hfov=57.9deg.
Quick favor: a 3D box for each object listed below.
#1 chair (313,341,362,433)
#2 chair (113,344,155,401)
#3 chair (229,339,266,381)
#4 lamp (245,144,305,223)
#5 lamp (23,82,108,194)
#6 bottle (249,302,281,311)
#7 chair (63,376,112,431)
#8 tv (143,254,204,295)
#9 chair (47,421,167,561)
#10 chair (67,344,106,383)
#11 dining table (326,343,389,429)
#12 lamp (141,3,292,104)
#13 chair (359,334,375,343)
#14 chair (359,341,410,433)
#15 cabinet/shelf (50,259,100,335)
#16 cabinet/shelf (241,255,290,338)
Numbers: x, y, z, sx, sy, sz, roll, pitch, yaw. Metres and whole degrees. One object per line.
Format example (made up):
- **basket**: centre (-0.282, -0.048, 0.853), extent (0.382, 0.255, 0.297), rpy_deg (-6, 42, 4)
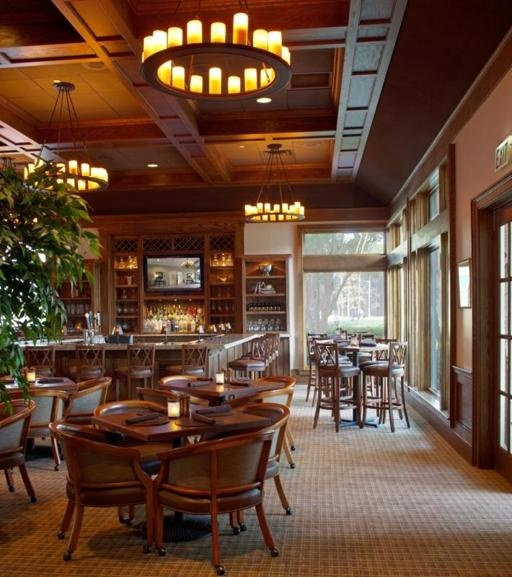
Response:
- **chair**: centre (1.058, 1.228, 5.952), extent (0.495, 1.054, 0.534), rpy_deg (-3, -4, 38)
- **chair**: centre (-1.621, 1.137, 6.165), extent (0.530, 0.737, 0.538), rpy_deg (-6, -9, 24)
- **chair**: centre (-0.130, 1.113, 6.808), extent (0.489, 0.749, 0.430), rpy_deg (3, 4, 25)
- **lamp**: centre (0.609, -1.830, 8.815), extent (1.407, 1.473, 1.354), rpy_deg (0, -5, -3)
- **lamp**: centre (-2.432, -2.004, 5.880), extent (1.060, 1.155, 1.059), rpy_deg (13, 16, 36)
- **bottle**: centre (0.185, 0.387, 9.639), extent (0.728, 0.198, 0.231), rpy_deg (-1, -7, 5)
- **chair**: centre (-1.663, 1.100, 4.444), extent (0.527, 0.522, 0.497), rpy_deg (3, -2, -24)
- **tv**: centre (-1.752, -0.316, 9.990), extent (1.442, 0.800, 0.110), rpy_deg (1, 4, 17)
- **chair**: centre (-0.864, 1.091, 2.582), extent (0.507, 0.624, 0.529), rpy_deg (2, -10, -23)
- **chair**: centre (-2.197, 0.973, 6.013), extent (0.531, 0.692, 0.523), rpy_deg (2, 0, -22)
- **dining table**: centre (1.194, 1.269, 6.290), extent (0.679, 1.067, 1.631), rpy_deg (-2, -7, 12)
- **lamp**: centre (-0.292, -1.501, 3.012), extent (1.023, 0.259, 1.017), rpy_deg (-33, 52, -28)
- **chair**: centre (1.808, 0.803, 7.430), extent (0.188, 0.174, 0.503), rpy_deg (-1, -9, 5)
- **chair**: centre (1.675, 1.219, 5.939), extent (0.567, 1.042, 0.550), rpy_deg (-2, -6, 28)
- **cabinet/shelf**: centre (-3.771, 0.017, 9.937), extent (0.773, 1.181, 0.274), rpy_deg (-2, -2, 9)
- **cabinet/shelf**: centre (0.224, 0.123, 9.629), extent (0.896, 1.558, 0.427), rpy_deg (-1, -6, 4)
